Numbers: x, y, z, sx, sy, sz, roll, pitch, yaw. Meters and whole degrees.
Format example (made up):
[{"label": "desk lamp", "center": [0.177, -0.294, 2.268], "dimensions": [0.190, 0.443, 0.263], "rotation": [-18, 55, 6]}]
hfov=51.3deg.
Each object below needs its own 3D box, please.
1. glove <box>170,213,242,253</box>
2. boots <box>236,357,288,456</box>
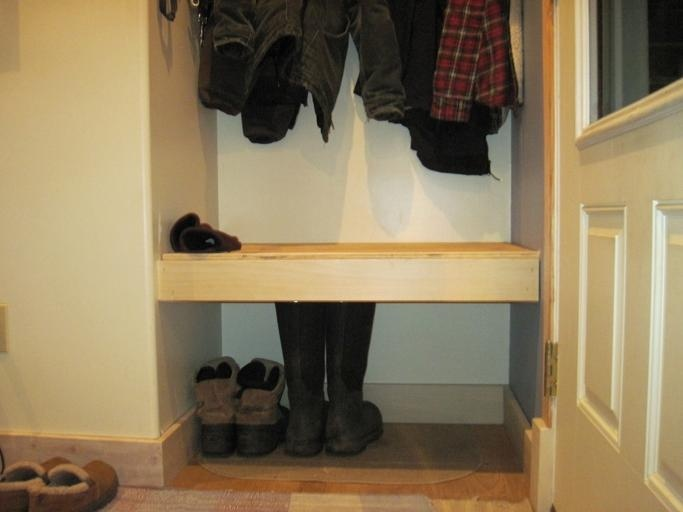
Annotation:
[{"label": "glove", "center": [-0.455, -0.065, 2.207], "dimensions": [0.111, 0.091, 0.199], "rotation": [2, 2, 5]}, {"label": "boots", "center": [-0.267, 0.503, 2.513], "dimensions": [0.137, 0.282, 0.387], "rotation": [-3, -2, 8]}]
